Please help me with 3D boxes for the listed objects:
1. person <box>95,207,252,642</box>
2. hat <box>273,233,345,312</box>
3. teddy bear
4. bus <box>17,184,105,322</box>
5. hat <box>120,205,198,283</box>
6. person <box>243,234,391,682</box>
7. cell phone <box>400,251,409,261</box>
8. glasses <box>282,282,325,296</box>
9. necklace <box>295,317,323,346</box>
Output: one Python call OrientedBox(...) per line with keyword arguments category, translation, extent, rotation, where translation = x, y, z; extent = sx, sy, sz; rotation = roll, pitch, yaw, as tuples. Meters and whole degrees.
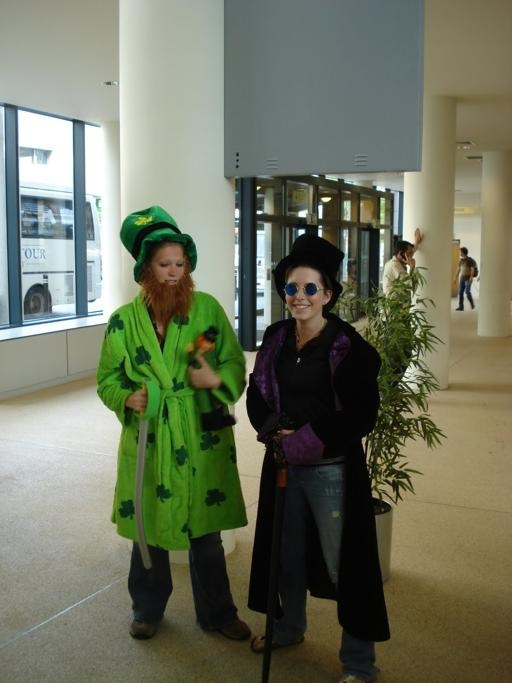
OrientedBox(category="person", translation=(-0.265, 0.277, 1.660), extent=(0.451, 1.320, 0.435), rotation=(-1, 2, -20))
OrientedBox(category="hat", translation=(0.166, -0.194, 1.418), extent=(0.152, 0.203, 0.080), rotation=(16, 42, 19))
OrientedBox(category="teddy bear", translation=(-0.135, 0.119, 1.612), extent=(0.097, 0.337, 0.203), rotation=(0, 2, 24))
OrientedBox(category="bus", translation=(-3.053, -1.359, 8.116), extent=(0.326, 2.037, 1.561), rotation=(0, 2, 23))
OrientedBox(category="hat", translation=(-0.285, -0.293, 1.536), extent=(0.224, 0.229, 0.186), rotation=(-1, 2, -17))
OrientedBox(category="person", translation=(0.137, 0.357, 1.450), extent=(0.325, 1.275, 0.471), rotation=(-1, 2, -19))
OrientedBox(category="cell phone", translation=(1.584, -0.917, 5.556), extent=(0.063, 0.093, 0.089), rotation=(-11, -4, -5))
OrientedBox(category="glasses", translation=(0.113, -0.130, 1.301), extent=(0.084, 0.035, 0.049), rotation=(0, 2, 10))
OrientedBox(category="necklace", translation=(0.136, -0.030, 1.366), extent=(0.053, 0.048, 0.075), rotation=(-6, 12, 12))
